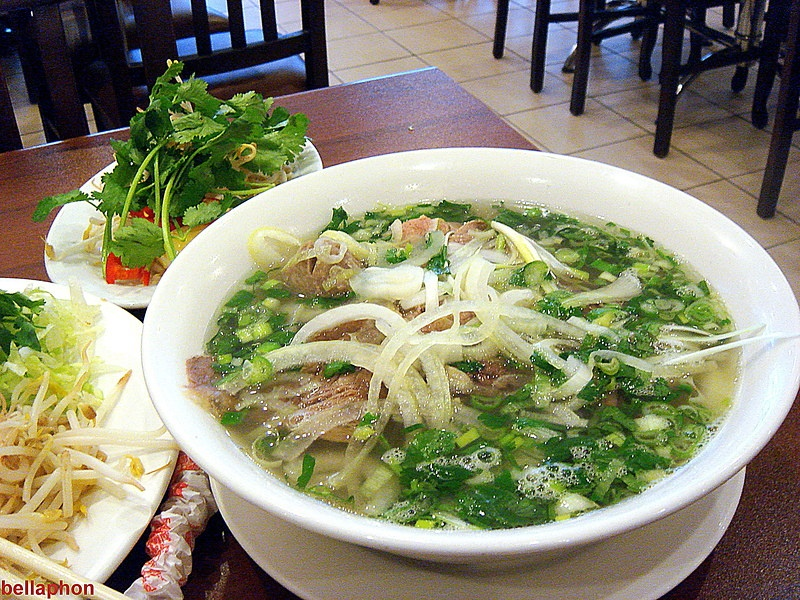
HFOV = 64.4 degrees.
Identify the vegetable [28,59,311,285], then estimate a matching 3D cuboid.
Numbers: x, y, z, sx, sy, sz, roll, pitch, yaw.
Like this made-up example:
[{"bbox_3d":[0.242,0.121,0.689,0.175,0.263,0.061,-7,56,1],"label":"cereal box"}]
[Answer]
[{"bbox_3d":[-0.463,-0.251,1.648,0.577,0.259,0.613,20,58,32],"label":"vegetable"}]
